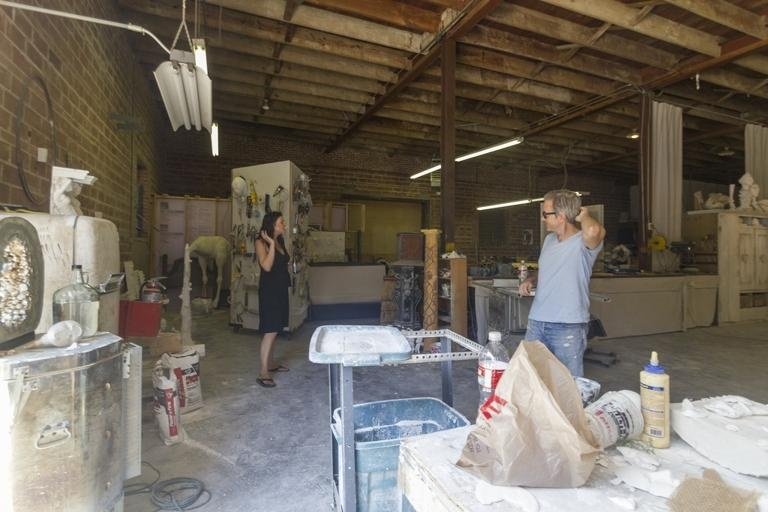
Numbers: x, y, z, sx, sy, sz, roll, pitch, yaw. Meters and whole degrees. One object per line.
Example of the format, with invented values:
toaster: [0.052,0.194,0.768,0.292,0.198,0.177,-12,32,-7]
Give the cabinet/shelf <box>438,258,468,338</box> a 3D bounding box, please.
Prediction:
cabinet/shelf: [1.039,0.547,7.952,0.381,1.154,0.826,1,14,-1]

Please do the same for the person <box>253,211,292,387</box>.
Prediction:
person: [-1.382,0.527,6.688,0.438,2.039,0.802,-2,14,-10]

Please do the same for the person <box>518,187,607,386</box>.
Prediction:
person: [1.747,0.248,5.286,0.613,1.689,0.607,7,15,21]

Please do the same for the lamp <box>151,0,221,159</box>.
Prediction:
lamp: [-2.233,-2.180,6.147,0.559,1.832,3.048,-3,15,-17]
